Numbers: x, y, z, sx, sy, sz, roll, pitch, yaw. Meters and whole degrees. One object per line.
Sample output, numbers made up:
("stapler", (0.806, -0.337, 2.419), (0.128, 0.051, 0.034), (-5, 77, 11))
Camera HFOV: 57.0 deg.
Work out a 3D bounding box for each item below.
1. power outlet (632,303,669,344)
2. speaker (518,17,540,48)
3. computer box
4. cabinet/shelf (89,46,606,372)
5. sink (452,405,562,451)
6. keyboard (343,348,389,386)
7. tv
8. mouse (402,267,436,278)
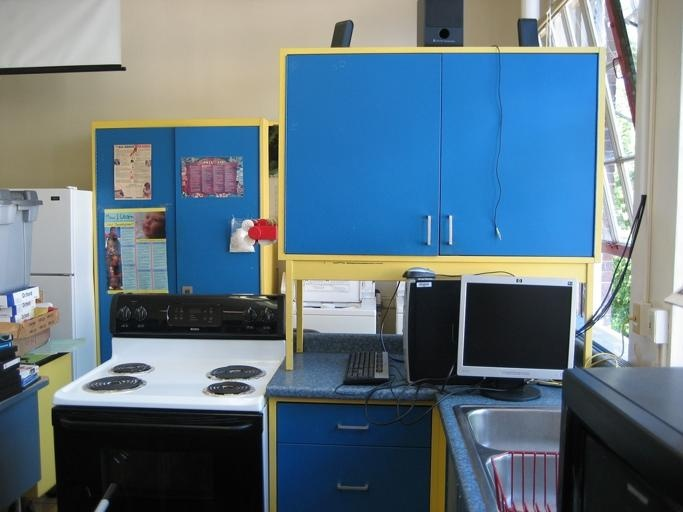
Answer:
("power outlet", (1.485, 0.326, 3.045), (0.077, 0.180, 0.215), (-2, 7, -6))
("speaker", (0.942, -1.128, 3.187), (0.100, 0.174, 0.186), (1, 7, 15))
("computer box", (0.463, 0.359, 3.200), (0.415, 0.499, 0.329), (-1, 5, -20))
("cabinet/shelf", (0.011, -0.195, 3.520), (2.480, 1.602, 0.755), (0, -1, 4))
("sink", (0.736, 0.821, 2.992), (0.686, 0.208, 0.423), (10, -19, -30))
("keyboard", (0.124, 0.579, 3.172), (0.227, 0.055, 0.356), (-3, 10, 2))
("tv", (0.801, 0.369, 2.879), (0.558, 0.581, 0.303), (1, -1, 5))
("mouse", (0.384, 0.077, 3.085), (0.106, 0.035, 0.064), (-3, 8, -10))
